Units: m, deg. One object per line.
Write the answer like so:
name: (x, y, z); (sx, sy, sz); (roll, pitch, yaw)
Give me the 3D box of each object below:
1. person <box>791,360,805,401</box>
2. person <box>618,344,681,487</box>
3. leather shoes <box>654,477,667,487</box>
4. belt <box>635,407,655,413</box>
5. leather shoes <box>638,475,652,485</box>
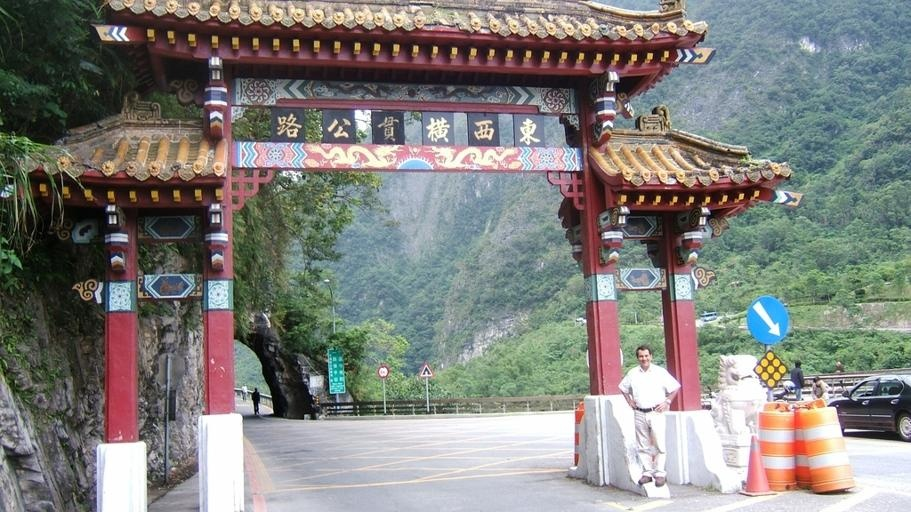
person: (11.434, 4.168, 28.724); (0.341, 1.212, 1.439); (-6, -6, 19)
person: (4.696, 3.840, 20.697); (1.029, 3.343, 0.860); (-10, -8, 43)
leather shoes: (4.933, 5.404, 20.697); (0.233, 0.163, 0.226); (1, 6, 3)
belt: (4.560, 3.687, 20.602); (0.394, 0.094, 0.054); (-6, -6, 20)
leather shoes: (4.564, 5.360, 20.623); (0.323, 0.190, 0.164); (1, -9, -4)
